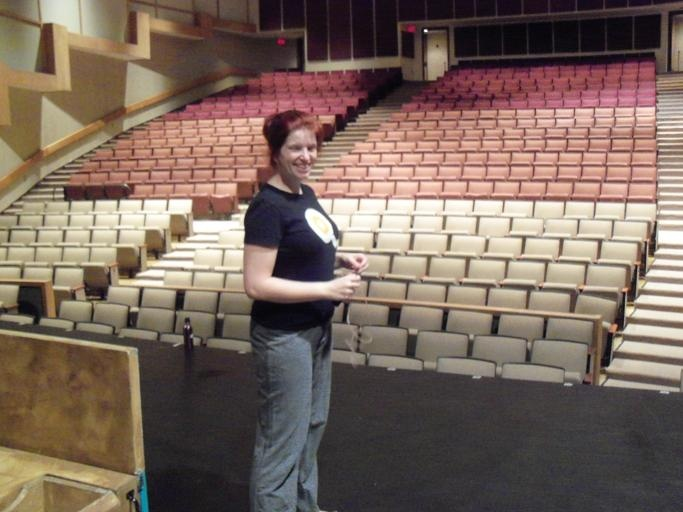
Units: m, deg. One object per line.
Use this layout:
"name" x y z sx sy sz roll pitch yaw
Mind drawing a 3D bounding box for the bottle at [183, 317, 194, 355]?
"bottle" -0.484 0.244 1.699 0.029 0.117 0.162 3 4 -15
